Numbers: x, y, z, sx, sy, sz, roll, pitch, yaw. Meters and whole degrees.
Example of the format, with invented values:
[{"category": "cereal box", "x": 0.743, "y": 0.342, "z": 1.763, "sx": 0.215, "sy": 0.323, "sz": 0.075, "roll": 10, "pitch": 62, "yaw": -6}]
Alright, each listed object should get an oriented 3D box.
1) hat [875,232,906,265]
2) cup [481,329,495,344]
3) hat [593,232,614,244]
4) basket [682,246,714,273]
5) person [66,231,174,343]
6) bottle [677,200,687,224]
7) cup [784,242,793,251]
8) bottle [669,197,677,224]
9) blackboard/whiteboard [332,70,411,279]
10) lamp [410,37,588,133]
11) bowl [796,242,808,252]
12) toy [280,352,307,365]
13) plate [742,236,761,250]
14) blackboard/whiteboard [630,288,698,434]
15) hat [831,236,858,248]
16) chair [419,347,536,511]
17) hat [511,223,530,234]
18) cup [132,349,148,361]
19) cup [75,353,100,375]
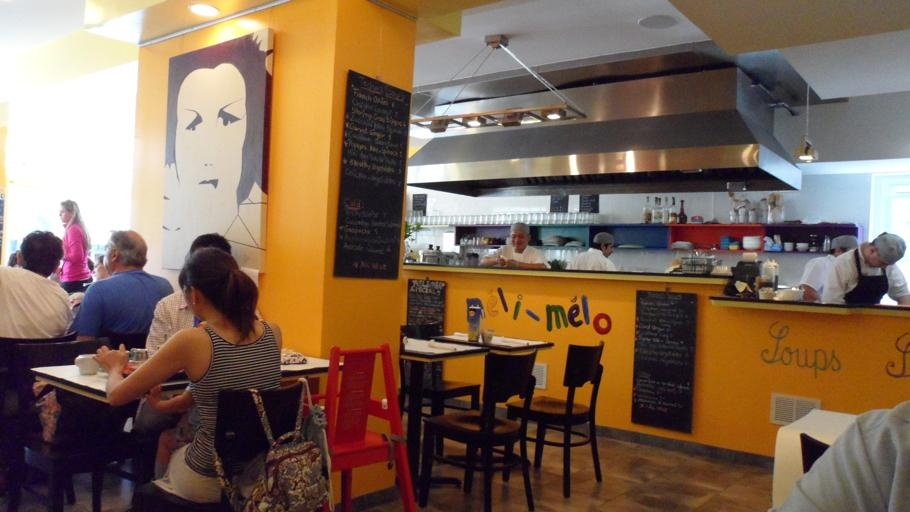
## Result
[{"category": "hat", "x": 4.950, "y": -0.127, "z": 7.653, "sx": 0.309, "sy": 0.371, "sz": 0.319, "roll": 16, "pitch": -15, "yaw": -36}, {"category": "cup", "x": 0.357, "y": 0.857, "z": 7.054, "sx": 0.139, "sy": 0.102, "sz": 0.137, "roll": 1, "pitch": 1, "yaw": 0}, {"category": "hat", "x": 2.138, "y": -0.278, "z": 9.583, "sx": 0.258, "sy": 0.130, "sz": 0.180, "roll": -1, "pitch": 3, "yaw": -18}, {"category": "basket", "x": 3.156, "y": 0.027, "z": 8.598, "sx": 0.390, "sy": 0.308, "sz": 0.374, "roll": 2, "pitch": 4, "yaw": 30}, {"category": "person", "x": -3.287, "y": 0.305, "z": 6.548, "sx": 1.219, "sy": 1.010, "sz": 0.660, "roll": -1, "pitch": 9, "yaw": -41}, {"category": "bottle", "x": 3.732, "y": -0.753, "z": 10.861, "sx": 0.177, "sy": 0.363, "sz": 0.326, "roll": 7, "pitch": 12, "yaw": 17}, {"category": "cup", "x": 5.137, "y": -0.151, "z": 10.242, "sx": 0.149, "sy": 0.104, "sz": 0.134, "roll": 2, "pitch": 1, "yaw": -28}, {"category": "bottle", "x": 3.596, "y": -0.789, "z": 10.936, "sx": 0.157, "sy": 0.415, "sz": 0.403, "roll": 7, "pitch": 12, "yaw": 16}, {"category": "blackboard/whiteboard", "x": -0.811, "y": -0.769, "z": 6.360, "sx": 0.800, "sy": 1.965, "sz": 0.451, "roll": -2, "pitch": 13, "yaw": -25}, {"category": "lamp", "x": 0.737, "y": -2.554, "z": 9.634, "sx": 1.583, "sy": 0.864, "sz": 0.585, "roll": -5, "pitch": -27, "yaw": 35}, {"category": "bowl", "x": 5.321, "y": -0.162, "z": 10.181, "sx": 0.150, "sy": 0.093, "sz": 0.134, "roll": 0, "pitch": -2, "yaw": 9}, {"category": "toy", "x": -1.371, "y": 0.869, "z": 5.660, "sx": 0.167, "sy": 0.064, "sz": 0.094, "roll": 0, "pitch": 4, "yaw": -19}, {"category": "plate", "x": 4.626, "y": -0.217, "z": 10.337, "sx": 0.243, "sy": 0.156, "sz": 0.236, "roll": 0, "pitch": 0, "yaw": -37}, {"category": "blackboard/whiteboard", "x": 2.415, "y": 1.191, "z": 7.683, "sx": 0.755, "sy": 1.570, "sz": 0.477, "roll": 7, "pitch": 12, "yaw": 14}, {"category": "hat", "x": 5.312, "y": -0.202, "z": 9.063, "sx": 0.213, "sy": 0.150, "sz": 0.274, "roll": 1, "pitch": -6, "yaw": -41}, {"category": "chair", "x": 0.263, "y": 1.606, "z": 6.373, "sx": 1.137, "sy": 1.514, "sz": 0.926, "roll": 3, "pitch": 12, "yaw": -2}, {"category": "hat", "x": 0.968, "y": -0.427, "z": 9.650, "sx": 0.325, "sy": 0.153, "sz": 0.209, "roll": -5, "pitch": 14, "yaw": -36}, {"category": "cup", "x": -2.593, "y": 0.810, "z": 5.442, "sx": 0.128, "sy": 0.074, "sz": 0.089, "roll": 3, "pitch": 2, "yaw": -29}, {"category": "cup", "x": -2.935, "y": 0.872, "z": 5.380, "sx": 0.166, "sy": 0.140, "sz": 0.198, "roll": -3, "pitch": -6, "yaw": 7}]
